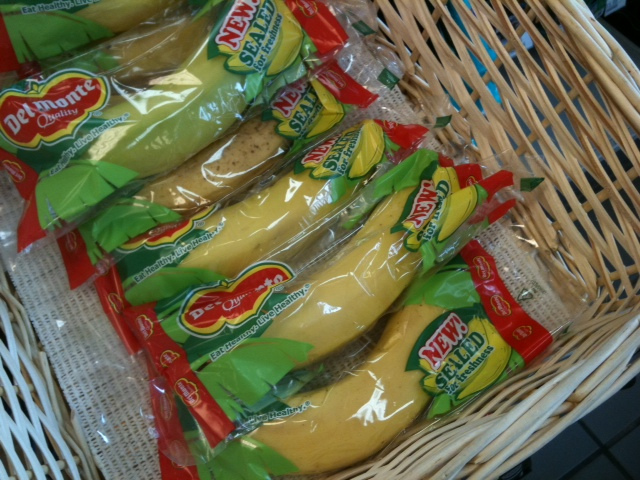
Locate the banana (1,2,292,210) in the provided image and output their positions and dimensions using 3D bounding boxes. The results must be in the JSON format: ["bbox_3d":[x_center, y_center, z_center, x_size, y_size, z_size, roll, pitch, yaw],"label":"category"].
[{"bbox_3d":[-0.242,-0.186,0.859,0.224,0.453,0.148,60,-11,15],"label":"banana"}]

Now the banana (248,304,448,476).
[{"bbox_3d":[0.073,0.219,0.768,0.142,0.182,0.230,48,32,15],"label":"banana"}]

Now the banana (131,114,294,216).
[{"bbox_3d":[-0.162,-0.107,0.871,0.093,0.321,0.109,63,-14,-21],"label":"banana"}]

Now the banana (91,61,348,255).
[{"bbox_3d":[-0.143,-0.147,0.922,0.183,0.491,0.157,58,-6,24],"label":"banana"}]

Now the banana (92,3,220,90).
[{"bbox_3d":[-0.242,-0.280,0.776,0.047,0.182,0.062,61,-8,24],"label":"banana"}]

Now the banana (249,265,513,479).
[{"bbox_3d":[0.097,0.206,0.827,0.178,0.461,0.118,55,-9,-16],"label":"banana"}]

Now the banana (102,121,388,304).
[{"bbox_3d":[-0.125,-0.033,0.796,0.075,0.370,0.117,65,-14,-18],"label":"banana"}]
